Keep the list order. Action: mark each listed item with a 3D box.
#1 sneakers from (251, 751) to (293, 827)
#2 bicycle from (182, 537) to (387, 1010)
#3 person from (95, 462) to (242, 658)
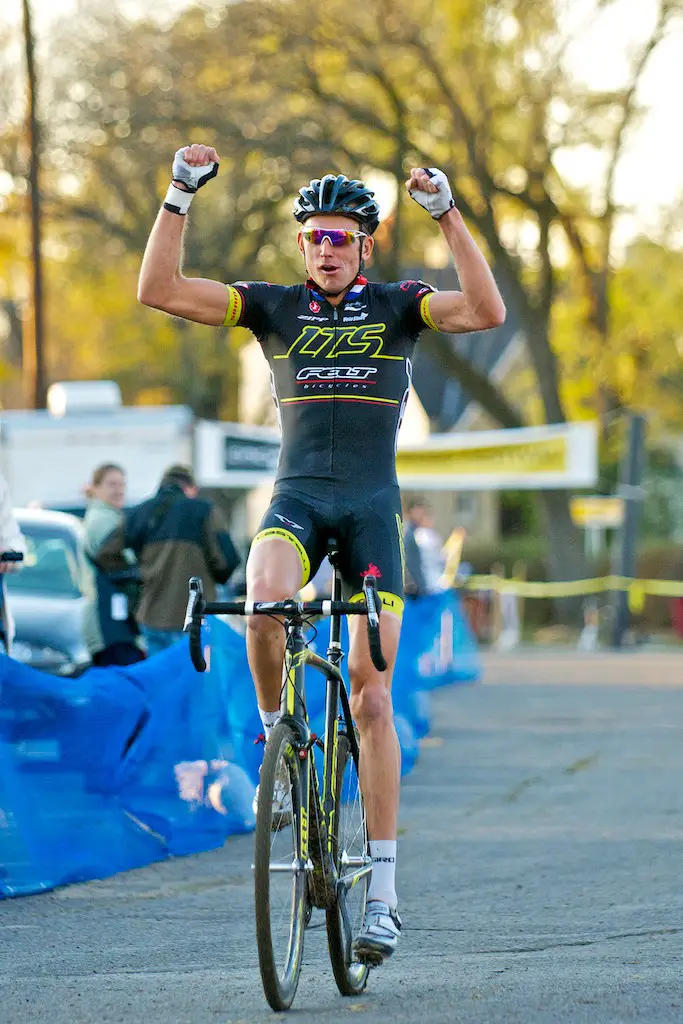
[{"bbox_3d":[-0.206,0.798,5.548,0.134,0.187,0.069,3,5,21],"label":"sneakers"},{"bbox_3d":[-0.168,0.791,5.783,0.578,1.341,0.894,0,4,3],"label":"bicycle"},{"bbox_3d":[-1.056,0.397,11.123,0.674,1.538,0.526,-3,21,-9],"label":"person"}]
